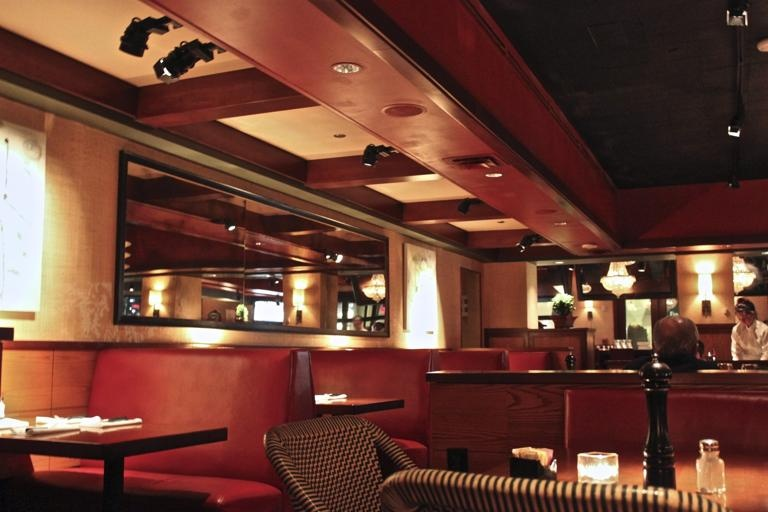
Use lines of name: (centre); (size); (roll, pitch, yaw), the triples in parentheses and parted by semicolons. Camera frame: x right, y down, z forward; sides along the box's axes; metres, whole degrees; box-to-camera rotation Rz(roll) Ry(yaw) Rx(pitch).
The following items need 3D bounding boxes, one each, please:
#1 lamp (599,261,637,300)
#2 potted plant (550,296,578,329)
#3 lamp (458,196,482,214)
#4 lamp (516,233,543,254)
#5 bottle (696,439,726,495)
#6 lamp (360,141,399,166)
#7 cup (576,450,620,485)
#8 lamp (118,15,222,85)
lamp: (4.877, 0.403, 12.608); (0.509, 0.648, 0.652); (4, -11, -13)
potted plant: (3.370, 1.018, 11.523); (0.374, 0.651, 0.529); (-1, -11, 18)
lamp: (1.236, -0.700, 8.746); (0.326, 0.276, 0.637); (0, -10, 8)
lamp: (2.429, -0.238, 10.461); (0.227, 0.307, 0.856); (-31, -8, 34)
bottle: (1.168, 0.745, 2.191); (0.095, 0.170, 0.189); (-3, -12, 26)
lamp: (-0.045, -1.040, 6.532); (0.314, 0.294, 0.549); (1, -10, 4)
cup: (0.829, 0.795, 2.290); (0.180, 0.102, 0.165); (1, -16, 0)
lamp: (-1.595, -1.505, 4.428); (0.563, 0.208, 0.557); (-27, -30, 21)
